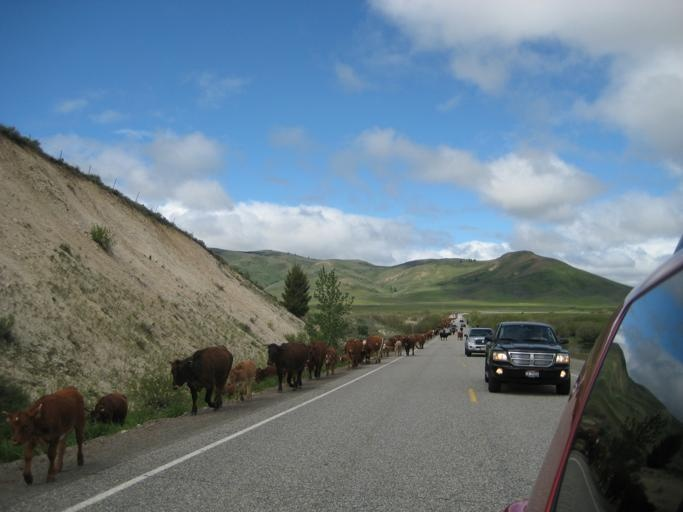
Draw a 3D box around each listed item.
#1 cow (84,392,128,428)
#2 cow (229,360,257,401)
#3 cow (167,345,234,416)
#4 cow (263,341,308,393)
[{"bbox_3d":[-5.691,3.826,11.634,0.326,0.716,1.243,-7,-15,11],"label":"cow"},{"bbox_3d":[-3.546,4.371,16.807,0.501,1.217,1.938,0,-5,10],"label":"cow"},{"bbox_3d":[-4.125,3.724,14.270,0.837,1.907,3.081,-4,-8,15],"label":"cow"},{"bbox_3d":[-2.085,4.253,18.226,0.813,1.809,3.034,-1,-9,23],"label":"cow"}]
